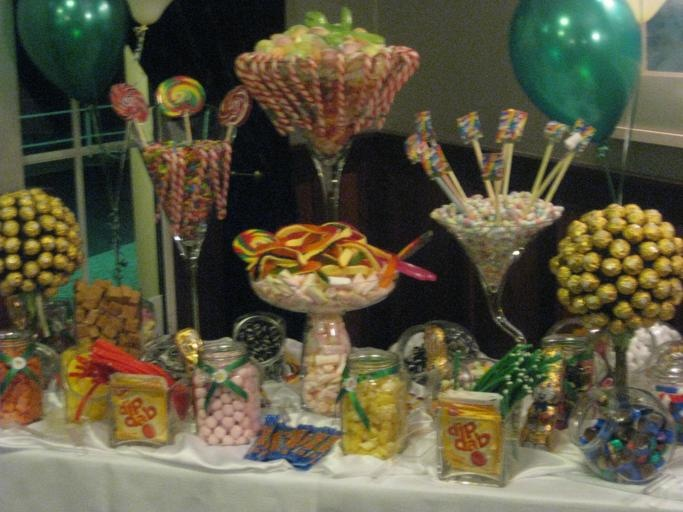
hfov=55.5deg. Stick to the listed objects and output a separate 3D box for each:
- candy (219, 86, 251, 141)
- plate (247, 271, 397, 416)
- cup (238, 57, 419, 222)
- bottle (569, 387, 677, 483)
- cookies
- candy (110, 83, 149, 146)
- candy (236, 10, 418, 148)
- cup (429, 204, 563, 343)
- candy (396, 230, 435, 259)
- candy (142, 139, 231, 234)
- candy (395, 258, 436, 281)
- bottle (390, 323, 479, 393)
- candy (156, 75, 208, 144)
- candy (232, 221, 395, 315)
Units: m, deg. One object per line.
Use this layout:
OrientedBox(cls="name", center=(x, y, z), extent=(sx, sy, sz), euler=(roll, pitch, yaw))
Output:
OrientedBox(cls="candy", center=(-0.282, -0.385, 1.787), extent=(0.093, 0.151, 0.042), euler=(8, 5, 24))
OrientedBox(cls="plate", center=(-0.038, 0.203, 1.795), extent=(0.393, 0.382, 0.377), euler=(1, 5, -2))
OrientedBox(cls="cup", center=(0.021, -0.335, 1.883), extent=(0.478, 0.560, 0.450), euler=(-2, 20, 1))
OrientedBox(cls="bottle", center=(0.607, 0.376, 1.412), extent=(0.188, 0.134, 0.201), euler=(-3, 11, 0))
OrientedBox(cls="cookies", center=(-0.632, 0.170, 1.763), extent=(0.173, 0.196, 0.145), euler=(-2, 10, -23))
OrientedBox(cls="candy", center=(-0.558, -0.392, 1.761), extent=(0.077, 0.172, 0.096), euler=(-25, 33, -9))
OrientedBox(cls="candy", center=(-0.019, -0.437, 1.788), extent=(0.429, 0.337, 0.420), euler=(4, 14, 15))
OrientedBox(cls="cup", center=(0.330, 0.022, 1.732), extent=(0.362, 0.382, 0.357), euler=(-1, 9, 0))
OrientedBox(cls="candy", center=(0.194, -0.025, 1.760), extent=(0.047, 0.050, 0.218), euler=(-38, 0, -8))
OrientedBox(cls="candy", center=(-0.407, -0.206, 1.861), extent=(0.255, 0.260, 0.266), euler=(-4, 9, -8))
OrientedBox(cls="candy", center=(0.228, 0.039, 1.929), extent=(0.153, 0.034, 0.032), euler=(16, -23, 4))
OrientedBox(cls="bottle", center=(0.241, 0.241, 1.612), extent=(0.167, 0.118, 0.189), euler=(-2, 0, 3))
OrientedBox(cls="candy", center=(-0.441, -0.404, 1.790), extent=(0.113, 0.179, 0.092), euler=(5, 10, 21))
OrientedBox(cls="candy", center=(-0.050, 0.025, 1.622), extent=(0.285, 0.146, 0.310), euler=(4, 10, -6))
